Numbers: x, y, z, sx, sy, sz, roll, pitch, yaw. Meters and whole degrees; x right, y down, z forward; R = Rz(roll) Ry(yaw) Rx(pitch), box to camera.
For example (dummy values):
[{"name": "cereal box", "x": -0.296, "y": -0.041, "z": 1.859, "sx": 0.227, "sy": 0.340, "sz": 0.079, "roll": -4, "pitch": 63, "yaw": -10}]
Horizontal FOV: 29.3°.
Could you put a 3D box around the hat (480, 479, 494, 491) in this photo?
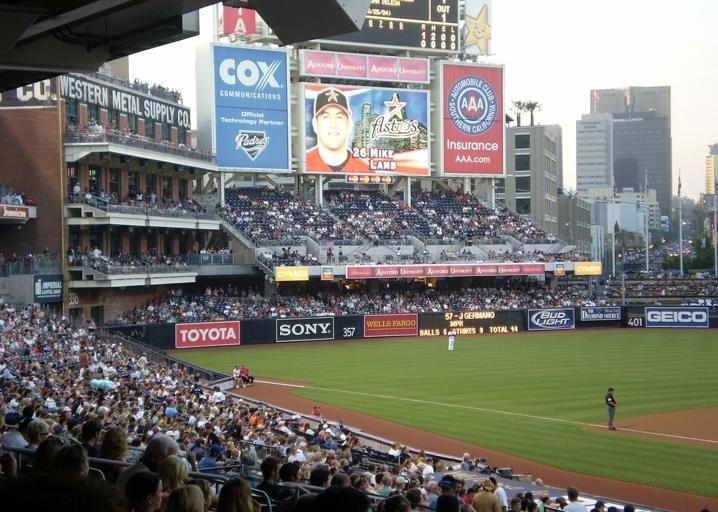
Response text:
[{"name": "hat", "x": 5.856, "y": 10.437, "z": 62.986, "sx": 0.642, "sy": 0.287, "sz": 0.748, "roll": 4, "pitch": 11, "yaw": 9}]

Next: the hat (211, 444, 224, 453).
[{"name": "hat", "x": -6.796, "y": 9.115, "z": 65.475, "sx": 0.549, "sy": 0.367, "sz": 0.905, "roll": 7, "pitch": 9, "yaw": -2}]
